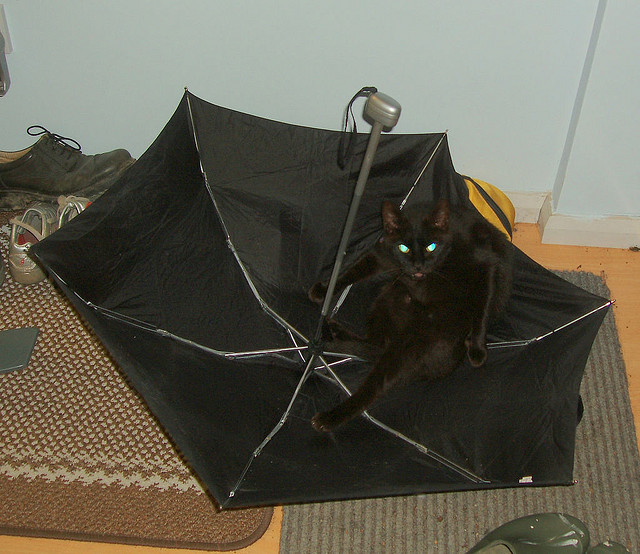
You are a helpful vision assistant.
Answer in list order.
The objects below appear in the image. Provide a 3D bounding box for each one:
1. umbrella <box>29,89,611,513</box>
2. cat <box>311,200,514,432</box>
[{"bbox_3d":[-0.091,-0.081,1.929,1.304,0.934,1.229,-3,-39,2],"label":"umbrella"},{"bbox_3d":[0.201,0.074,1.519,0.471,0.589,0.146,14,-22,22],"label":"cat"}]
